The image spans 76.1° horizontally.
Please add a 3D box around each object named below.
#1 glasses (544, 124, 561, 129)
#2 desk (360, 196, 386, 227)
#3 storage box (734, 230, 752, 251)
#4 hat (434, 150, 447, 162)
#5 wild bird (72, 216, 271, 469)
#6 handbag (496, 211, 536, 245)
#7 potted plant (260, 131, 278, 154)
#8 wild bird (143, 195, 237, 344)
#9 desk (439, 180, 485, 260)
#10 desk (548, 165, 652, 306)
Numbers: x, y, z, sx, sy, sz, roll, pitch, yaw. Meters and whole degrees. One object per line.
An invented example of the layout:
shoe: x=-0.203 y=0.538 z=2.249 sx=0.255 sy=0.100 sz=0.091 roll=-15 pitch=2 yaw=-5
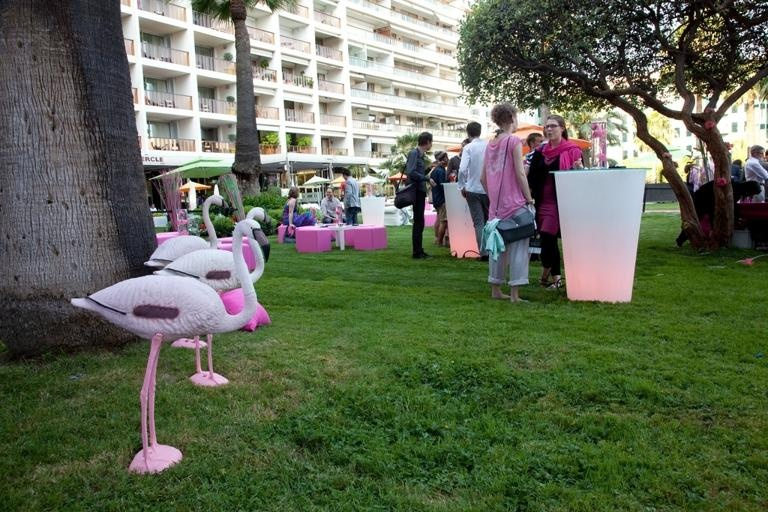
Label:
glasses: x=2.508 y=-1.915 z=7.264 sx=0.124 sy=0.047 sz=0.167 roll=3 pitch=7 yaw=38
desk: x=-0.353 y=-1.649 z=17.802 sx=1.103 sy=1.443 sz=1.003 roll=-1 pitch=0 yaw=-19
storage box: x=7.635 y=-0.359 z=10.562 sx=0.342 sy=0.470 sz=0.472 roll=2 pitch=2 yaw=24
hat: x=1.448 y=-2.501 z=12.166 sx=0.311 sy=0.291 sz=0.266 roll=-9 pitch=17 yaw=-8
wild bird: x=-1.705 y=0.662 z=3.887 sx=1.519 sy=1.889 sz=0.674 roll=5 pitch=-11 yaw=-15
handbag: x=1.849 y=-0.424 z=6.826 sx=0.522 sy=0.376 sz=0.360 roll=-13 pitch=12 yaw=3
potted plant: x=-8.661 y=-8.660 z=37.332 sx=1.415 sy=1.594 sz=2.310 roll=-5 pitch=15 yaw=-12
wild bird: x=-2.397 y=0.213 z=6.123 sx=1.232 sy=1.781 sz=0.620 roll=-8 pitch=14 yaw=-42
desk: x=1.764 y=-0.571 z=11.143 sx=0.989 sy=1.382 sz=0.996 roll=-2 pitch=-8 yaw=14
desk: x=3.334 y=-0.410 z=7.788 sx=1.598 sy=2.698 sz=1.666 roll=-3 pitch=6 yaw=4
